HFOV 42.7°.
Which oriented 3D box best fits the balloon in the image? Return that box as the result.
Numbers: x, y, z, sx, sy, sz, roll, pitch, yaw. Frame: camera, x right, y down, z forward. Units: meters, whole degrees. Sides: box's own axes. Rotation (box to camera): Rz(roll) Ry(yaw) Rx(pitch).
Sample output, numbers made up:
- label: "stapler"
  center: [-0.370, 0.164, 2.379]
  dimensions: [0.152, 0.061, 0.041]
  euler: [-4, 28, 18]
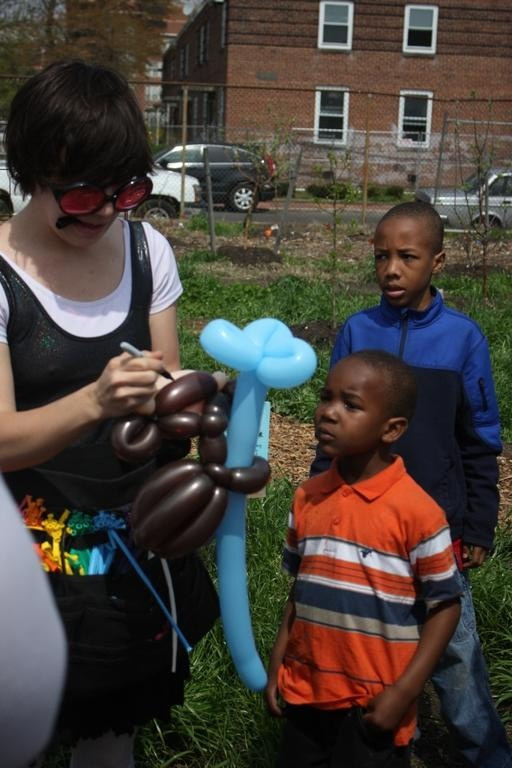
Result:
- label: "balloon"
  center: [-0.095, 0.278, 1.313]
  dimensions: [0.372, 0.816, 0.320]
  euler: [0, 15, -12]

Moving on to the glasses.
- label: "glasses"
  center: [-0.319, -0.389, 1.386]
  dimensions: [0.153, 0.102, 0.238]
  euler: [-5, 18, -25]
